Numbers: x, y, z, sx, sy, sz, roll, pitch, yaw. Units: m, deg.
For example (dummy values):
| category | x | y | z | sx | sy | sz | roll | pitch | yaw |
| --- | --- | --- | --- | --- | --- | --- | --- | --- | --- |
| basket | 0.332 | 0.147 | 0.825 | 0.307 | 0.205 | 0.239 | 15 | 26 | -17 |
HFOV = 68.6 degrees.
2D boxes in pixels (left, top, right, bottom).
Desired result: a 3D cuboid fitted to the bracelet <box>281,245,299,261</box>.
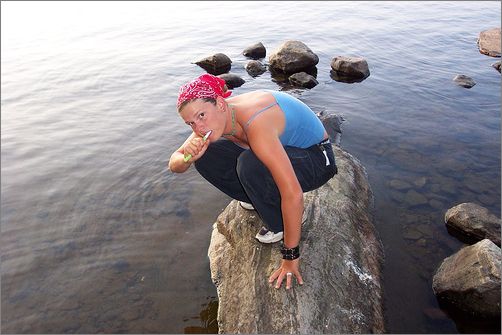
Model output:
| category | x | y | z | sx | sy | sz | roll | pitch | yaw |
| --- | --- | --- | --- | --- | --- | --- | --- | --- | --- |
| bracelet | 0.481 | 1.040 | 4.472 | 0.208 | 0.121 | 0.154 | -3 | 5 | 6 |
